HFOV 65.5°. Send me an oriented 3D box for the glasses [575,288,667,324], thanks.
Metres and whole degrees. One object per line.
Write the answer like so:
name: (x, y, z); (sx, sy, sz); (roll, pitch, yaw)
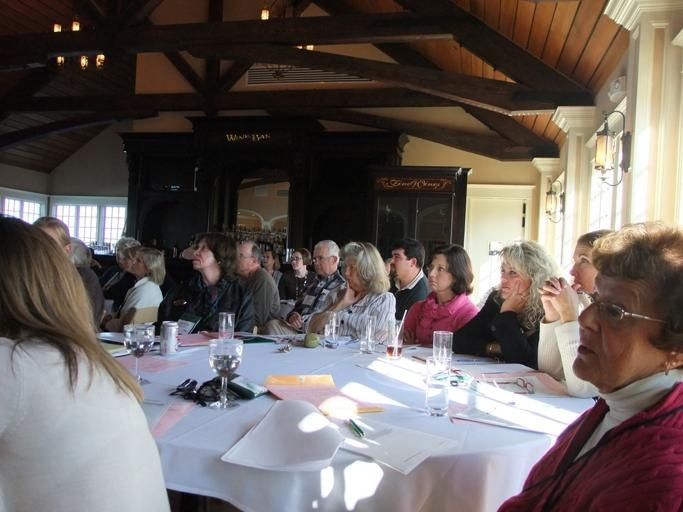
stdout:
glasses: (0.636, 0.115, 1.189); (0.177, 0.059, 0.175); (10, 2, 3)
